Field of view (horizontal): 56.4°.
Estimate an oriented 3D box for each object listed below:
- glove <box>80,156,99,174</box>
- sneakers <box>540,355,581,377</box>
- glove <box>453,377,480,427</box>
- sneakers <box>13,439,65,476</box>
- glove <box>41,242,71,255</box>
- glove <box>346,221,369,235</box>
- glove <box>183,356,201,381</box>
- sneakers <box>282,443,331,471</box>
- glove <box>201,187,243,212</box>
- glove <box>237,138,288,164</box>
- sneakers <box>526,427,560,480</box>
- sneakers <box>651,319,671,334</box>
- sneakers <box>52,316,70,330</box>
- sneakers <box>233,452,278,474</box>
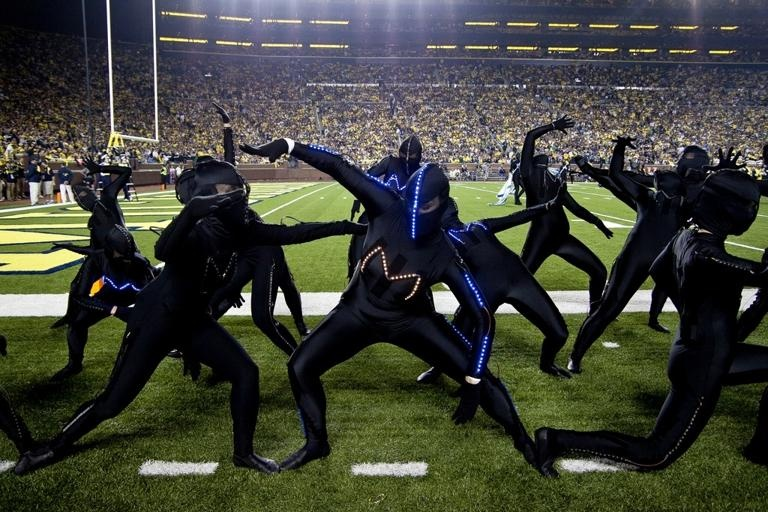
[{"bbox_3d":[-3.094,-0.947,7.532,0.160,0.207,0.402,-6,13,-22],"label":"glove"},{"bbox_3d":[1.909,1.188,7.718,0.450,0.275,0.149,1,12,6],"label":"sneakers"},{"bbox_3d":[0.748,1.297,6.332,0.228,0.381,0.122,27,-4,12],"label":"glove"},{"bbox_3d":[-3.026,1.758,6.291,0.535,0.212,0.182,-13,-6,-35],"label":"sneakers"},{"bbox_3d":[-5.043,-0.107,11.009,0.253,0.092,0.403,-4,-9,1],"label":"glove"},{"bbox_3d":[-0.222,-0.247,6.383,0.171,0.134,0.246,2,12,9],"label":"glove"},{"bbox_3d":[-1.842,1.078,6.888,0.165,0.128,0.404,28,-8,-2],"label":"glove"},{"bbox_3d":[-0.684,1.757,6.413,0.513,0.196,0.159,-9,13,-18],"label":"sneakers"},{"bbox_3d":[-1.335,-0.486,6.057,0.303,0.198,0.298,-2,12,-6],"label":"glove"},{"bbox_3d":[-1.055,-0.882,6.022,0.474,0.148,0.186,-6,39,-30],"label":"glove"},{"bbox_3d":[1.445,1.723,6.310,0.212,0.407,0.225,2,13,10],"label":"sneakers"},{"bbox_3d":[3.451,0.863,8.866,0.273,0.216,0.105,4,14,23],"label":"sneakers"},{"bbox_3d":[-3.646,0.760,8.083,0.113,0.112,0.446,-6,-17,-34],"label":"sneakers"},{"bbox_3d":[-1.108,1.821,6.298,0.417,0.108,0.151,3,-4,10],"label":"sneakers"}]
